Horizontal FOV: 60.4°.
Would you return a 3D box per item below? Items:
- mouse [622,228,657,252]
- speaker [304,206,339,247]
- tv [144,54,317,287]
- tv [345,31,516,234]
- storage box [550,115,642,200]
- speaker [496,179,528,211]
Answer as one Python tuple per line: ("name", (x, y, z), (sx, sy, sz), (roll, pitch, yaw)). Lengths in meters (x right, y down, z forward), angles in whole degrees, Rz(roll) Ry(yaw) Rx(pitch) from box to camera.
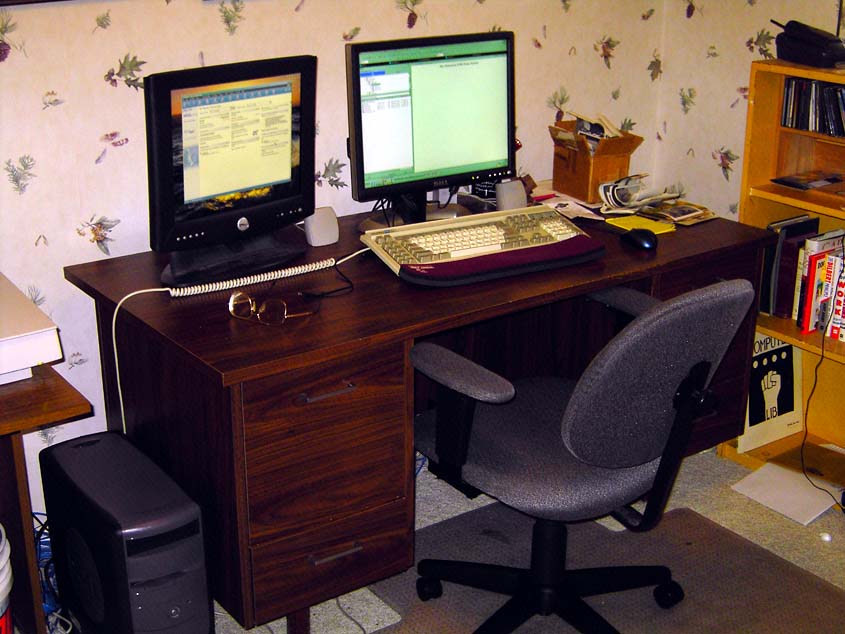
("mouse", (0.626, -0.224, 2.060), (0.051, 0.031, 0.090), (-10, 28, -21))
("speaker", (-0.293, -0.259, 2.084), (0.102, 0.092, 0.055), (-18, 25, -41))
("tv", (-0.493, -0.372, 1.844), (0.472, 0.514, 0.302), (-19, 35, -40))
("tv", (0.025, -0.565, 2.159), (0.562, 0.523, 0.216), (-16, 28, -28))
("storage box", (0.548, -0.551, 2.526), (0.292, 0.257, 0.344), (-17, 31, -30))
("speaker", (0.285, -0.380, 2.338), (0.102, 0.128, 0.107), (-6, -1, 5))
